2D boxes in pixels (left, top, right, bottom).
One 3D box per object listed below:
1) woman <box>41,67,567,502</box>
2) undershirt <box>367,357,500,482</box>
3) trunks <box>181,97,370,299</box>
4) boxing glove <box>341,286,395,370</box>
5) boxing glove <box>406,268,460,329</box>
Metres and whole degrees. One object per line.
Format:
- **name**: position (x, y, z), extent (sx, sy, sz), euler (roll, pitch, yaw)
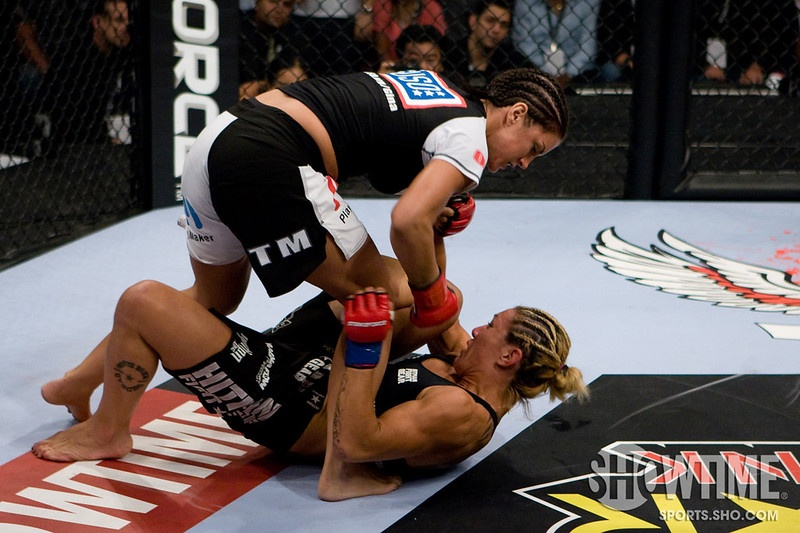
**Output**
- **woman**: position (-0.367, 0.015, 2.802), extent (1.961, 1.540, 0.872), euler (4, 16, -9)
- **undershirt**: position (0.142, 0.547, 2.759), extent (0.541, 0.406, 0.410), euler (-11, -14, 1)
- **trunks**: position (-0.503, -0.269, 2.689), extent (0.456, 0.592, 0.813), euler (-14, 17, -35)
- **boxing glove**: position (-0.107, 0.203, 2.423), extent (0.153, 0.250, 0.082), euler (6, 12, 1)
- **boxing glove**: position (0.137, 0.111, 2.505), extent (0.133, 0.200, 0.205), euler (-24, 6, -21)
